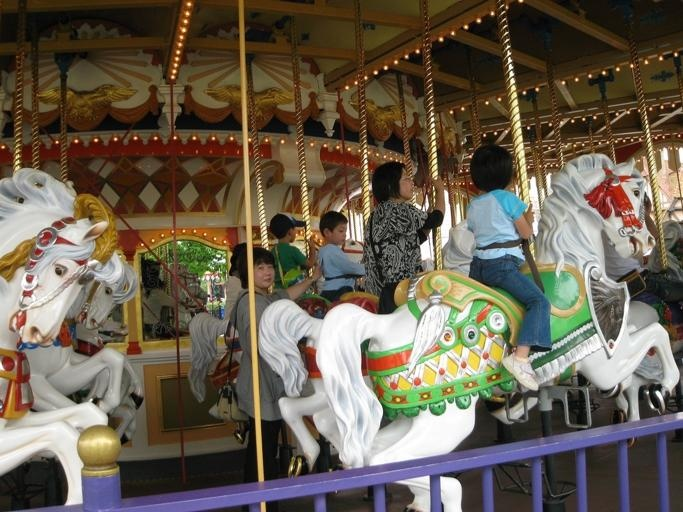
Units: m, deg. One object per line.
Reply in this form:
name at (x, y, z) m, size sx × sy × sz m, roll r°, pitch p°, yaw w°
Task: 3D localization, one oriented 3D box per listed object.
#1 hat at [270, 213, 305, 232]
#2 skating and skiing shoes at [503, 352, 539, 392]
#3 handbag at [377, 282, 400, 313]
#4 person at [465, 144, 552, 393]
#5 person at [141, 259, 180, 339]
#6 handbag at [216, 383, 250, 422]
hat at (-0.484, -0.322, 6.177) m, size 0.262 × 0.127 × 0.173 m, roll 1°, pitch 0°, yaw -27°
skating and skiing shoes at (1.035, 0.659, 3.853) m, size 0.130 × 0.271 × 0.133 m, roll -42°, pitch 12°, yaw 13°
handbag at (0.326, 0.275, 4.306) m, size 0.128 × 0.190 × 0.159 m, roll 1°, pitch -4°, yaw 15°
person at (1.008, 0.039, 4.051) m, size 0.488 × 1.585 × 0.376 m, roll -9°, pitch -8°, yaw 33°
person at (-2.303, 0.503, 8.221) m, size 0.392 × 1.041 × 0.165 m, roll -2°, pitch -7°, yaw -20°
handbag at (-0.936, 1.142, 5.635) m, size 0.237 × 0.501 × 0.478 m, roll 1°, pitch -7°, yaw -11°
